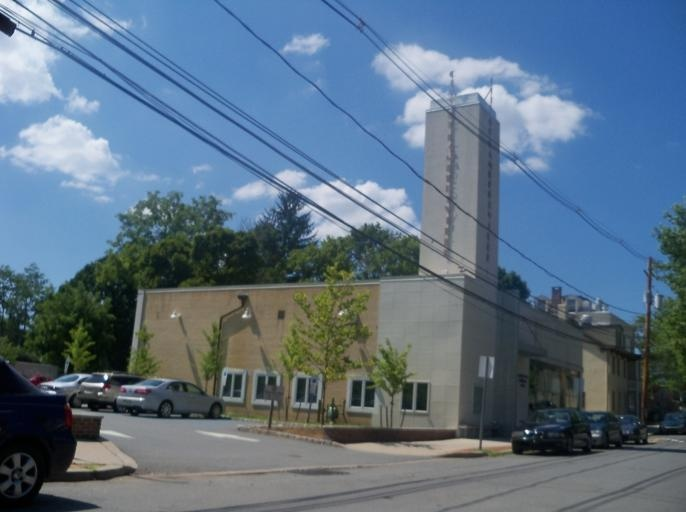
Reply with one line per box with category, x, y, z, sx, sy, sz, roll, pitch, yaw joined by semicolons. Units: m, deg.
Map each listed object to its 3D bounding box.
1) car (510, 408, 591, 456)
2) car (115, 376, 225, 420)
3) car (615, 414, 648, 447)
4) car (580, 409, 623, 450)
car;7.902;6.543;28.579;3.182;1.809;1.568;15;-19;-33
car;-7.447;6.117;32.923;3.794;1.406;1.714;7;-9;-44
car;13.895;8.257;36.816;1.221;1.046;3.202;-7;-21;25
car;11.245;7.446;32.893;1.271;1.011;2.899;-6;-16;25
